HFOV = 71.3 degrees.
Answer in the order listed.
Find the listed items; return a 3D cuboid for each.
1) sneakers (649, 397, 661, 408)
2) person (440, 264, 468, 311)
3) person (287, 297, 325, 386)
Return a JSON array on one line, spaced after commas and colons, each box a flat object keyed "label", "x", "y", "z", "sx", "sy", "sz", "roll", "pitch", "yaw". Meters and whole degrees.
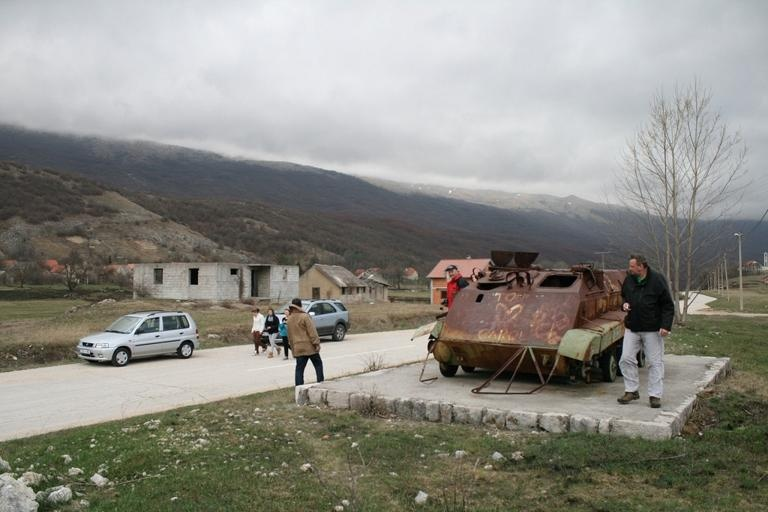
[{"label": "sneakers", "x": 5.150, "y": 2.768, "z": 10.197, "sx": 0.209, "sy": 0.190, "sz": 0.214, "roll": -2, "pitch": 3, "yaw": 21}, {"label": "person", "x": 1.899, "y": 0.834, "z": 14.406, "sx": 0.703, "sy": 1.182, "sz": 1.702, "roll": -3, "pitch": 2, "yaw": 6}, {"label": "person", "x": -1.948, "y": 2.198, "z": 13.245, "sx": 0.798, "sy": 2.285, "sz": 1.542, "roll": -4, "pitch": 3, "yaw": -11}]
